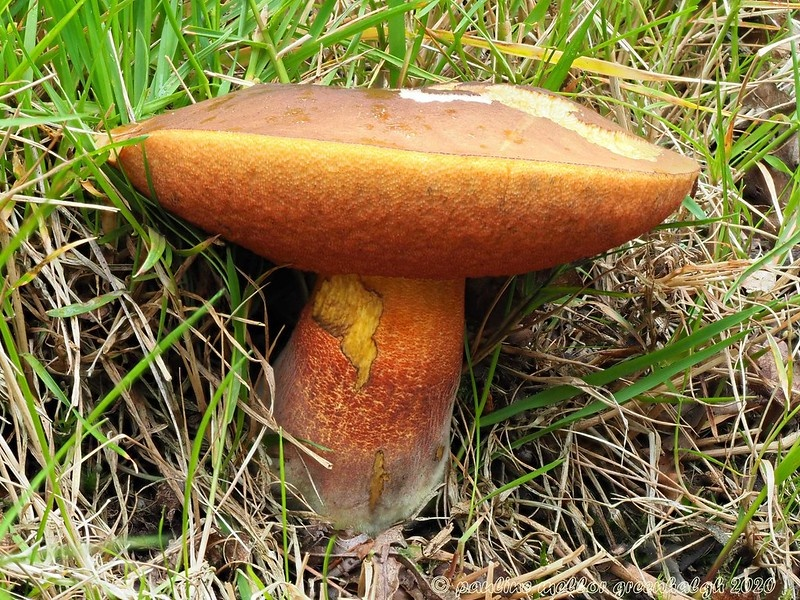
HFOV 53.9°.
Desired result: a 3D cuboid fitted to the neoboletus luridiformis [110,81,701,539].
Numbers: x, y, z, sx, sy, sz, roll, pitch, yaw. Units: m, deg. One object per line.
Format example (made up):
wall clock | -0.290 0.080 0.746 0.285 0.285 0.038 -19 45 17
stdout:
neoboletus luridiformis | -0.044 0.011 1.687 0.977 1.088 0.908 -2 104 -28
